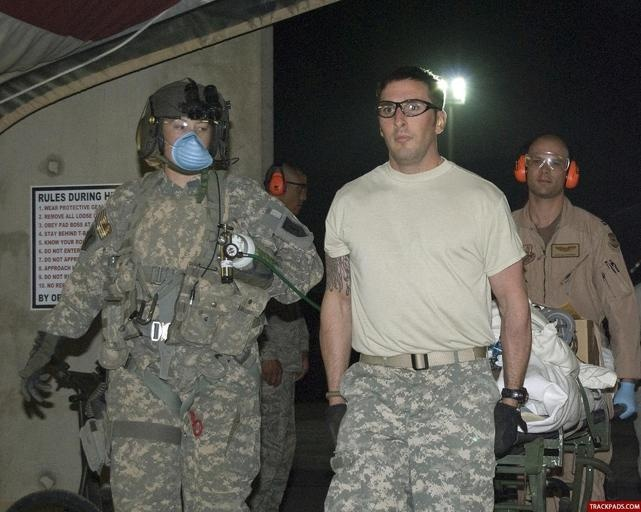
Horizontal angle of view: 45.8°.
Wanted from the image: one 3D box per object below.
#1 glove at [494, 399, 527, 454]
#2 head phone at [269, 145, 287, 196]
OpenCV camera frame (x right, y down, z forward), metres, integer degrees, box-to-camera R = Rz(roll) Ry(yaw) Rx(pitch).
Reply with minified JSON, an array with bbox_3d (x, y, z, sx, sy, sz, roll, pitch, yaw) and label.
[{"bbox_3d":[0.872,0.785,3.493,0.137,0.233,0.239,-3,-12,16],"label":"glove"},{"bbox_3d":[-0.336,-0.627,5.809,0.196,0.307,0.108,3,4,14],"label":"head phone"}]
